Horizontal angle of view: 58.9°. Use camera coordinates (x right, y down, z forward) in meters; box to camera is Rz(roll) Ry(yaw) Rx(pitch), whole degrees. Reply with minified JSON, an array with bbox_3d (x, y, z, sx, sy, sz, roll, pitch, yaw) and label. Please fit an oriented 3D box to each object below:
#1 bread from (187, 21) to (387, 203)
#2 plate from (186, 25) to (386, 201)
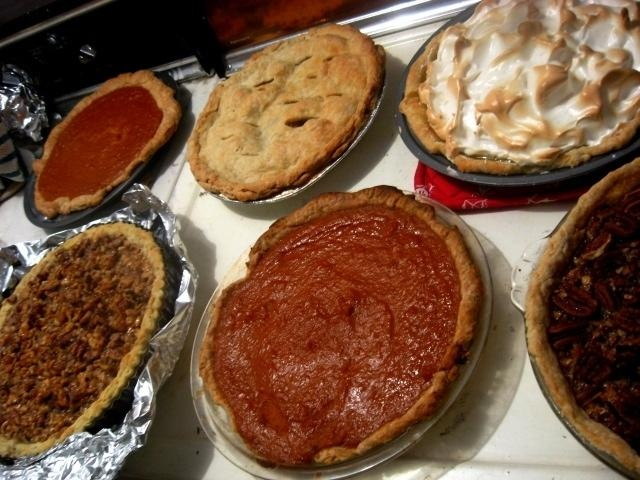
[{"bbox_3d":[-0.170,-0.748,3.350,1.249,0.229,0.973,-44,55,1],"label":"bread"},{"bbox_3d":[-0.113,-0.635,3.511,1.246,0.225,0.968,-44,55,1],"label":"plate"}]
